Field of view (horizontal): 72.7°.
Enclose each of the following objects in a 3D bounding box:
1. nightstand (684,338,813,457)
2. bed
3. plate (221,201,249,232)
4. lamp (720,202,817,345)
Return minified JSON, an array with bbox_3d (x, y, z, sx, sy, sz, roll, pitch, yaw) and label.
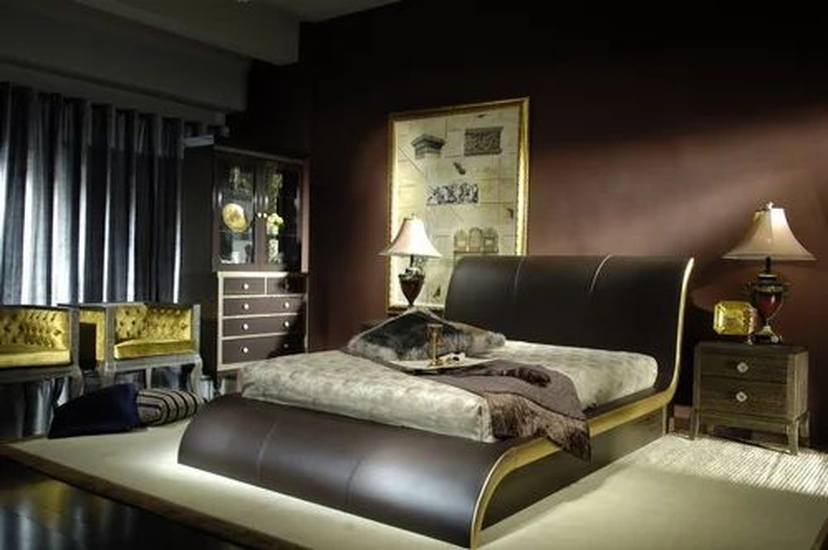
[{"bbox_3d":[2.333,0.727,4.310,1.126,1.087,0.699,-1,-5,32],"label":"nightstand"},{"bbox_3d":[0.534,0.765,3.689,1.844,1.040,2.518,2,3,41],"label":"bed"},{"bbox_3d":[-1.838,-0.588,5.766,0.043,0.295,0.279,4,4,38],"label":"plate"},{"bbox_3d":[2.577,-0.029,4.104,0.539,1.021,0.471,4,4,32],"label":"lamp"}]
